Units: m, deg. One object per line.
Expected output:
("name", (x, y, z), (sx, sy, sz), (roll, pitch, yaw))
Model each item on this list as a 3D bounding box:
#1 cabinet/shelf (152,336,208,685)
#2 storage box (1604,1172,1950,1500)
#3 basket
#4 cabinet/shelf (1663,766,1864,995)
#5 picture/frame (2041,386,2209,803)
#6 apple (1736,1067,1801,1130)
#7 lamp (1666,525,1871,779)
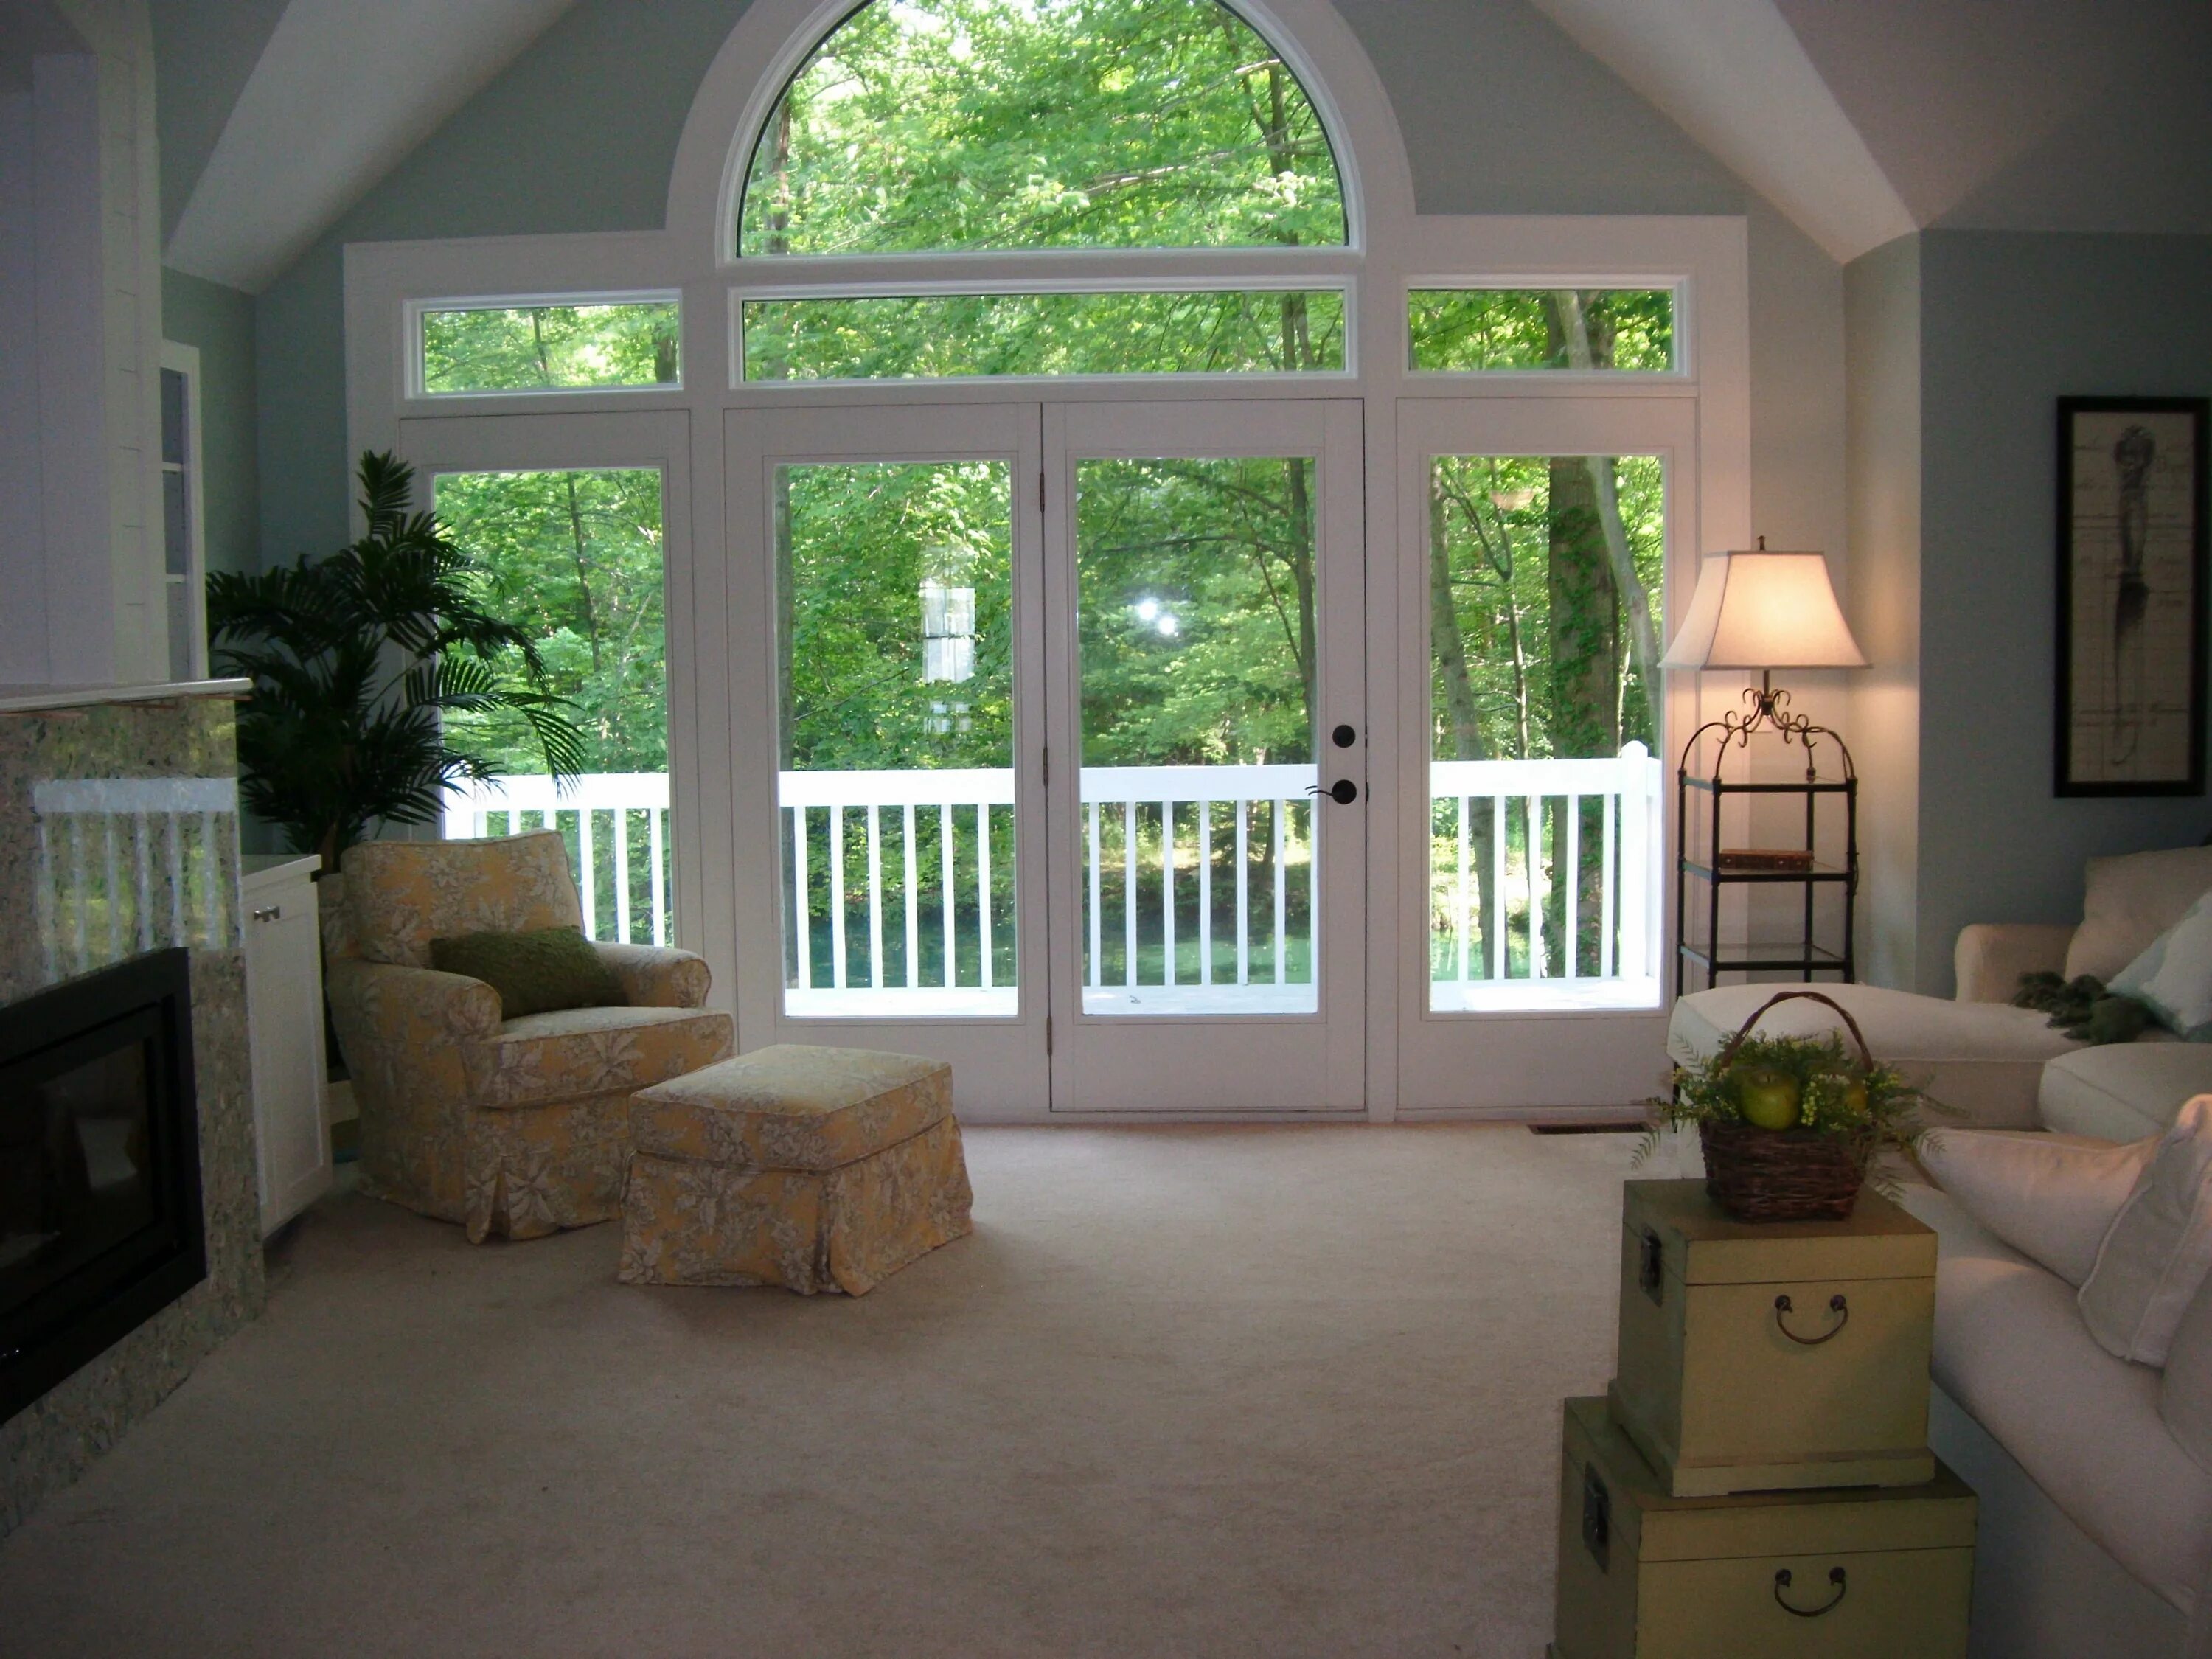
("cabinet/shelf", (-2.781, -0.968, 5.188), (0.170, 0.895, 0.086), (-2, 1, 30))
("storage box", (1.036, 0.757, 2.701), (0.413, 0.382, 0.427), (-1, -1, -1))
("basket", (1.053, 0.392, 2.672), (0.240, 0.360, 0.203), (-1, 17, -1))
("cabinet/shelf", (2.079, 0.253, 5.436), (0.438, 0.856, 0.324), (0, 3, 2))
("picture/frame", (3.004, -0.680, 5.061), (0.443, 1.144, 0.078), (-1, 5, -3))
("apple", (1.008, 0.413, 2.636), (0.076, 0.078, 0.078), (2, -23, 6))
("lamp", (2.041, -0.562, 5.316), (0.647, 0.610, 0.644), (2, 4, 39))
